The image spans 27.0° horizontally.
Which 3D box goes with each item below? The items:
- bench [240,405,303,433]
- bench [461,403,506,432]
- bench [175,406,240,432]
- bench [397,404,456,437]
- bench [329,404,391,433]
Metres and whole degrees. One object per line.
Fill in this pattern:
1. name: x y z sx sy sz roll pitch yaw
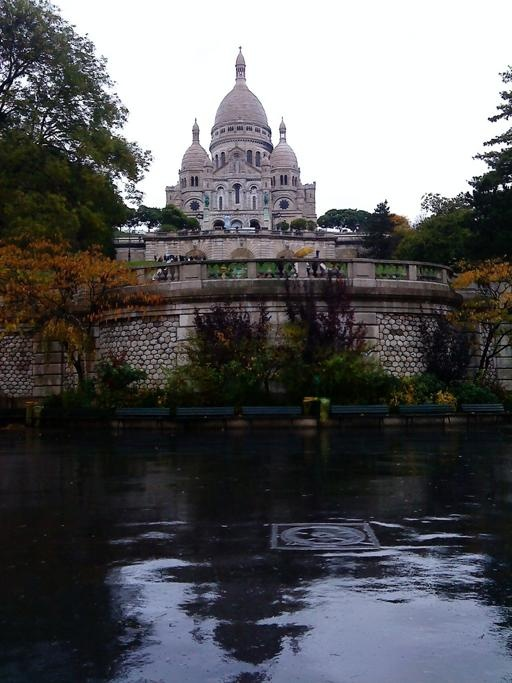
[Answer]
1. bench: 0.347 1.698 24.100 1.345 0.455 0.396 -2 0 -1
2. bench: 5.520 1.754 25.767 1.080 0.482 1.796 -2 1 13
3. bench: -1.164 1.740 24.285 1.431 0.488 0.527 -2 0 7
4. bench: 3.966 1.695 24.636 1.777 0.506 0.585 -2 1 -32
5. bench: 2.328 1.672 24.065 1.359 0.485 0.530 -2 0 -1
